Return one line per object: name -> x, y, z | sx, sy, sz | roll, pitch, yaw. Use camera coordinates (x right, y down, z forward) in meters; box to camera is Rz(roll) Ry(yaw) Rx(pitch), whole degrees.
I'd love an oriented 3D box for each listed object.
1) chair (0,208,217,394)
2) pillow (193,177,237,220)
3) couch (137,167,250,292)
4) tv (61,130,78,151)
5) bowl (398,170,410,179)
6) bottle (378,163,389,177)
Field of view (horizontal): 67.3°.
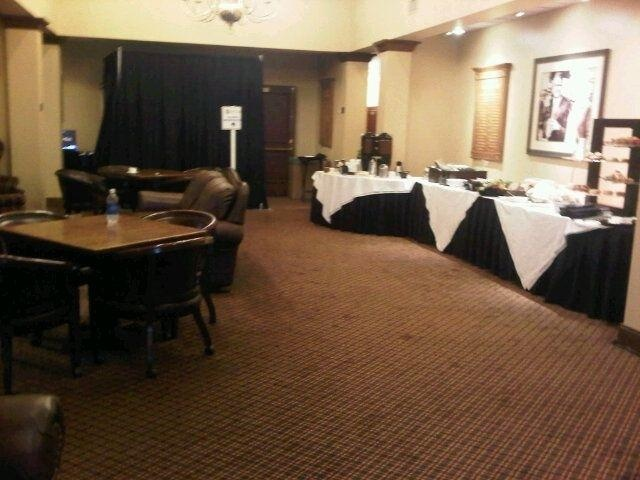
chair -> -1.573, 0.321, 3.475 | 1.237, 0.654, 1.207 | 9, 12, 31
pillow -> -0.980, -0.398, 4.743 | 0.449, 0.418, 0.172 | 22, -8, 44
couch -> -1.471, -0.209, 5.159 | 1.107, 1.081, 1.703 | -1, 17, -19
tv -> -4.858, -1.959, 9.337 | 0.265, 0.338, 1.233 | -6, 15, -26
bowl -> 1.306, -1.009, 7.387 | 0.147, 0.086, 0.124 | 0, 5, -1
bottle -> 0.978, -1.090, 7.485 | 0.231, 0.205, 0.209 | -1, 5, -4
